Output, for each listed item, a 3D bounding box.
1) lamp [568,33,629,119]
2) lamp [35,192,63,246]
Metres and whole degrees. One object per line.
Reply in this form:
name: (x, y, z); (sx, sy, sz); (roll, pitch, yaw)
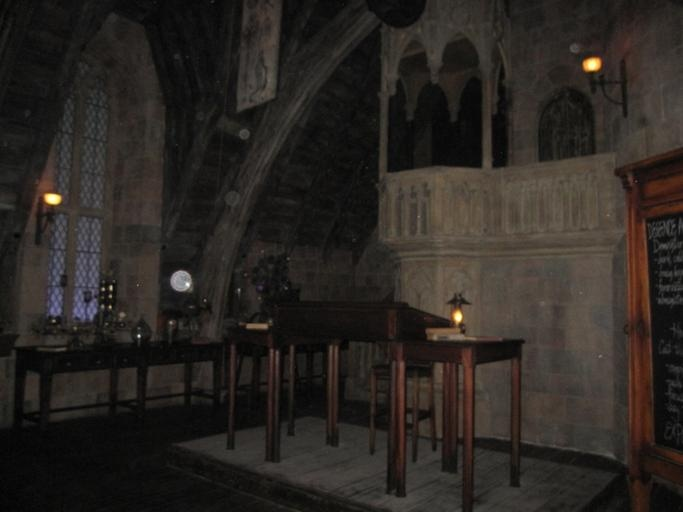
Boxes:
lamp: (3.569, -2.298, 8.213); (0.625, 0.863, 0.290); (8, 37, 34)
lamp: (-4.707, -0.604, 9.638); (0.312, 0.865, 0.413); (0, 0, -42)
